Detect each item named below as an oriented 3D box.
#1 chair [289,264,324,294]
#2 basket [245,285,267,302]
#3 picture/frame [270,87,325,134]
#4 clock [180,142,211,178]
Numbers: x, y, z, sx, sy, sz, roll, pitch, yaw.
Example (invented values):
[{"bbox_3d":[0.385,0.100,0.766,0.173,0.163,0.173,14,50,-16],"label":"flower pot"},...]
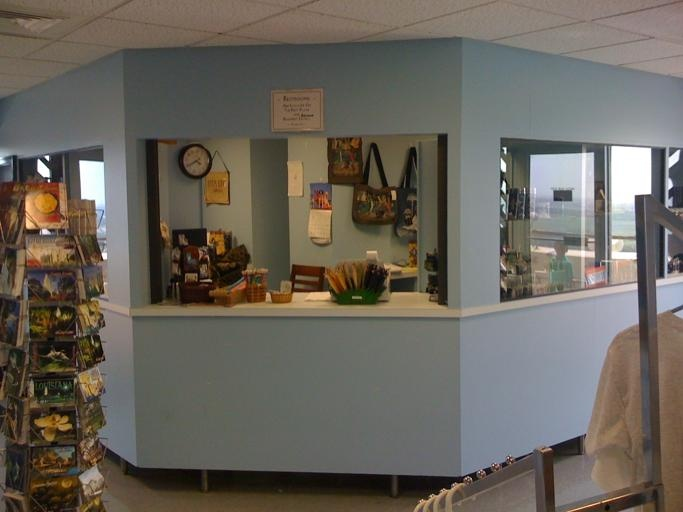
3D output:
[{"bbox_3d":[-0.395,0.236,6.359,0.253,0.498,0.308,1,2,8],"label":"chair"},{"bbox_3d":[-0.666,0.287,4.628,0.122,0.100,0.106,0,-1,-34],"label":"basket"},{"bbox_3d":[-0.338,-1.052,4.393,0.279,0.260,0.021,1,2,5],"label":"picture/frame"},{"bbox_3d":[-1.499,-0.930,6.062,0.084,0.346,0.354,9,15,40],"label":"clock"}]
